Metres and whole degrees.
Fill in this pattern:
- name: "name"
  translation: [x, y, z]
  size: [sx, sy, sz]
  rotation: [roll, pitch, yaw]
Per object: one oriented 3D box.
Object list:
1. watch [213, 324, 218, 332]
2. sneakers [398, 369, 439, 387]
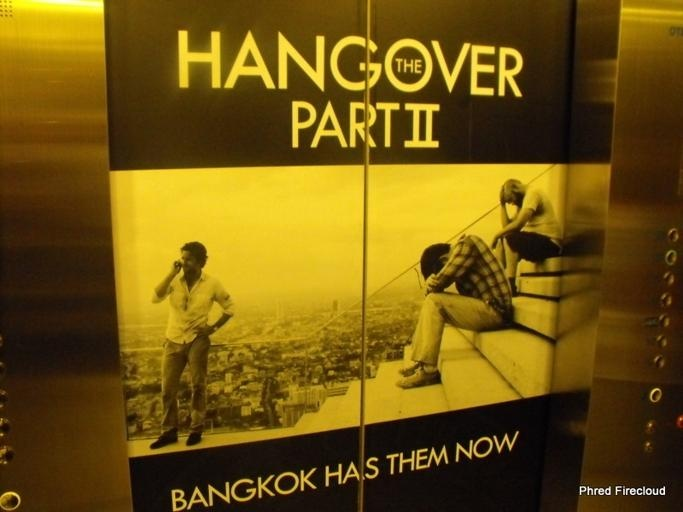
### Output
- name: "watch"
  translation: [-0.409, 0.239, 1.896]
  size: [0.016, 0.014, 0.007]
  rotation: [1, 0, -16]
- name: "sneakers"
  translation: [0.281, 0.436, 2.108]
  size: [0.168, 0.080, 0.061]
  rotation: [0, 7, -9]
